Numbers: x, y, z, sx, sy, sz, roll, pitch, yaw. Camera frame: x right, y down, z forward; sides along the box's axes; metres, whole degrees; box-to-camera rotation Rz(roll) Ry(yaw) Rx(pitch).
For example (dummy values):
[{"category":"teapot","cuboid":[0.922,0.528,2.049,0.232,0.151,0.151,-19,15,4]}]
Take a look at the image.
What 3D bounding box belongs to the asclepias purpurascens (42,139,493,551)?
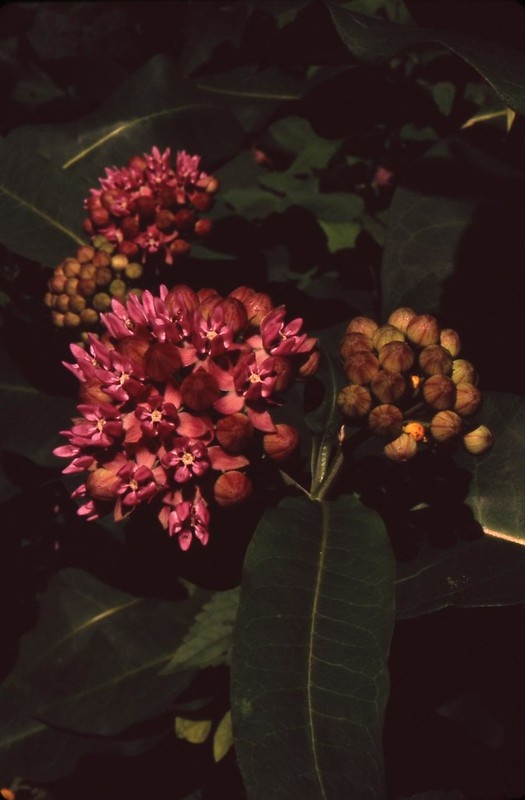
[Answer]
[{"category":"asclepias purpurascens","cuboid":[-0.050,-0.026,1.041,0.573,0.175,0.504,8,63,2]}]
